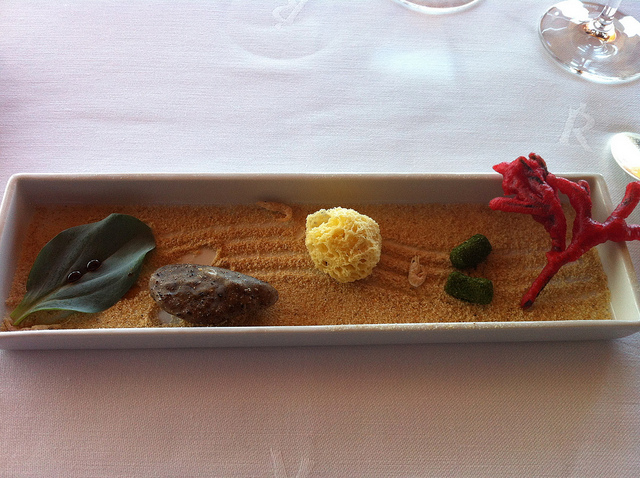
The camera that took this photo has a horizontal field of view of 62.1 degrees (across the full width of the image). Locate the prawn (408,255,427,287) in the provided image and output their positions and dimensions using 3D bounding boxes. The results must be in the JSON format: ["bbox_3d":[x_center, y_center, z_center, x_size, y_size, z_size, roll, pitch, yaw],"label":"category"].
[{"bbox_3d":[0.196,0.070,1.067,0.036,0.012,0.049,19,73,20],"label":"prawn"}]

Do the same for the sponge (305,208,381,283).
[{"bbox_3d":[0.044,0.010,1.049,0.140,0.093,0.128,-3,53,0],"label":"sponge"}]
